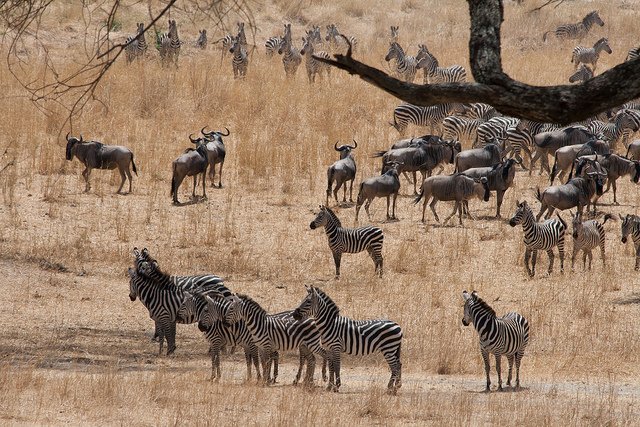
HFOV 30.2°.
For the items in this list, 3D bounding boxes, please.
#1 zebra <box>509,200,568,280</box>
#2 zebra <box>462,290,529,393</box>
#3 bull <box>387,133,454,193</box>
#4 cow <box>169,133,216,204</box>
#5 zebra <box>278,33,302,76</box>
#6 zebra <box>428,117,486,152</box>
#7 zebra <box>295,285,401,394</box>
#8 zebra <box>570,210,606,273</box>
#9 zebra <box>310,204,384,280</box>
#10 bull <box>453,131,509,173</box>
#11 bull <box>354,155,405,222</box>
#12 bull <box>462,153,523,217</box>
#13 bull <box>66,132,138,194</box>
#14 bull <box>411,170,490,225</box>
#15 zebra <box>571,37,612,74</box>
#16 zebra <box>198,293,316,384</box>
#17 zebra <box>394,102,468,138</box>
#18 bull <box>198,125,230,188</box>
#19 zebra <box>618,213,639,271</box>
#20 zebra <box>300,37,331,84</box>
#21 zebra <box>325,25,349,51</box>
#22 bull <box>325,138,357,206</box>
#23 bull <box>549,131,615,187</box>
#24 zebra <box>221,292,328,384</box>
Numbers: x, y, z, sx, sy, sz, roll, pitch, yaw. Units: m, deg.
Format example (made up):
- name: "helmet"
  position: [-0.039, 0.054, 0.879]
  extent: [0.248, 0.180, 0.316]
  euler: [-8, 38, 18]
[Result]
- name: "zebra"
  position: [5.675, 0.680, 30.537]
  extent: [2.471, 2.120, 0.578]
  euler: [-1, 4, -41]
- name: "zebra"
  position: [3.868, 2.837, 26.194]
  extent: [1.917, 2.308, 0.723]
  euler: [-2, 6, -34]
- name: "bull"
  position: [2.919, -1.398, 34.477]
  extent: [2.030, 1.849, 0.818]
  euler: [0, 14, -4]
- name: "cow"
  position: [-3.586, -1.253, 33.442]
  extent: [0.624, 1.848, 2.115]
  euler: [5, 11, 26]
- name: "zebra"
  position: [-1.046, -5.818, 44.580]
  extent: [0.566, 1.588, 2.056]
  euler: [6, 4, 24]
- name: "zebra"
  position: [4.367, -2.663, 37.542]
  extent: [1.995, 1.420, 0.574]
  euler: [-1, 26, -8]
- name: "zebra"
  position: [0.632, 2.792, 26.289]
  extent: [2.432, 2.419, 0.749]
  euler: [4, 6, -8]
- name: "zebra"
  position: [6.863, 0.774, 30.675]
  extent: [0.556, 1.571, 1.910]
  euler: [4, 2, 35]
- name: "zebra"
  position: [0.741, 0.795, 30.284]
  extent: [1.992, 1.935, 0.586]
  euler: [-1, 6, -20]
- name: "bull"
  position: [4.690, -1.528, 34.667]
  extent: [1.736, 1.533, 0.573]
  euler: [-4, -5, -18]
- name: "bull"
  position: [1.709, -0.635, 32.955]
  extent: [1.805, 1.761, 0.567]
  euler: [-6, 8, -38]
- name: "bull"
  position: [4.773, -0.741, 33.588]
  extent: [1.803, 1.801, 0.591]
  euler: [4, -3, 15]
- name: "bull"
  position: [-6.138, -1.326, 33.341]
  extent: [1.924, 1.551, 0.788]
  euler: [5, -6, -13]
- name: "bull"
  position: [3.604, -0.440, 33.063]
  extent: [2.018, 1.728, 0.947]
  euler: [5, 21, 12]
- name: "zebra"
  position: [10.603, -6.118, 46.702]
  extent: [1.676, 1.579, 0.531]
  euler: [5, 28, 31]
- name: "zebra"
  position: [-1.118, 2.804, 26.632]
  extent: [2.705, 2.296, 0.784]
  euler: [1, 17, -15]
- name: "zebra"
  position: [3.459, -3.078, 37.867]
  extent: [2.290, 1.619, 0.628]
  euler: [4, 19, 16]
- name: "bull"
  position: [-3.147, -1.542, 34.392]
  extent: [0.572, 1.635, 2.127]
  euler: [0, 6, 3]
- name: "zebra"
  position: [7.970, 0.728, 30.583]
  extent: [0.453, 1.473, 0.480]
  euler: [1, -6, 21]
- name: "zebra"
  position: [-0.166, -5.601, 43.950]
  extent: [0.566, 1.906, 2.152]
  euler: [5, 10, 24]
- name: "zebra"
  position: [0.700, -7.536, 50.718]
  extent: [0.859, 1.505, 1.947]
  euler: [3, -7, -1]
- name: "bull"
  position: [0.607, -1.096, 33.674]
  extent: [0.791, 1.947, 1.334]
  euler: [3, -6, 1]
- name: "bull"
  position: [7.659, -1.542, 34.808]
  extent: [1.865, 1.584, 0.500]
  euler: [-3, 9, -8]
- name: "zebra"
  position: [-0.950, 2.741, 26.426]
  extent: [2.296, 2.017, 0.716]
  euler: [3, 1, -10]
